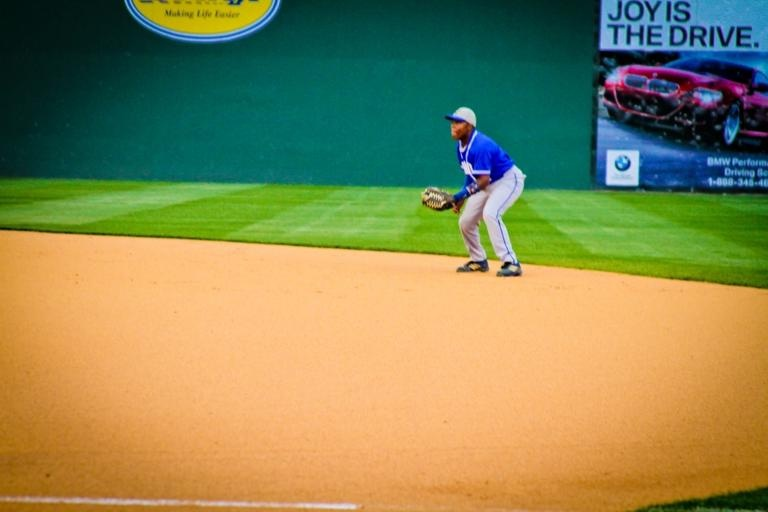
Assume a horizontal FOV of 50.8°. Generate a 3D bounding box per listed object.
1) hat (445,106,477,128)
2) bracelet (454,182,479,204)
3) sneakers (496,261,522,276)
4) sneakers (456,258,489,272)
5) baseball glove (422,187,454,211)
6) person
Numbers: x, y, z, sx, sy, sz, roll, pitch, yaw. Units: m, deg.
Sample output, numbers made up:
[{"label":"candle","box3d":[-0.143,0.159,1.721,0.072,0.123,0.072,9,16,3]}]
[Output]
[{"label":"hat","box3d":[0.910,-1.609,9.399,0.310,0.215,0.199,-2,15,-9]},{"label":"bracelet","box3d":[0.998,-0.775,9.714,0.285,0.260,0.463,4,15,12]},{"label":"sneakers","box3d":[1.498,0.160,9.746,0.304,0.139,0.146,2,-3,-42]},{"label":"sneakers","box3d":[1.116,0.109,10.055,0.436,0.204,0.151,2,0,-3]},{"label":"baseball glove","box3d":[0.628,-0.698,9.664,0.244,0.175,0.327,11,1,-30]},{"label":"person","box3d":[1.212,-0.765,9.753,0.968,2.023,0.663,2,14,6]}]
